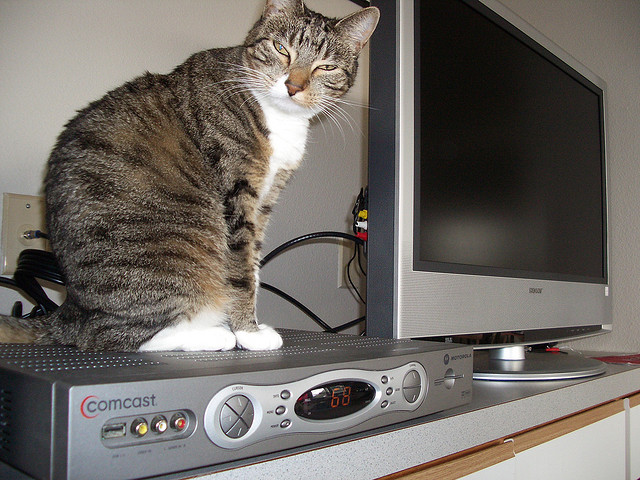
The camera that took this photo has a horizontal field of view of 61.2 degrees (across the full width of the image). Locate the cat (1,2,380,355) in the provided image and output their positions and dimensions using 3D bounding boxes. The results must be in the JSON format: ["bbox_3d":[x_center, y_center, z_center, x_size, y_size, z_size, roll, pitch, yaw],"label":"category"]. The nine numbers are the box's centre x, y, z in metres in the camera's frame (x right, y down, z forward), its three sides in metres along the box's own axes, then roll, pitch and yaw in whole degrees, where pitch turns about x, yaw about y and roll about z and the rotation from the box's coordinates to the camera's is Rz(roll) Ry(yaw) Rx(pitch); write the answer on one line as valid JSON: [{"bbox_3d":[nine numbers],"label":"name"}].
[{"bbox_3d":[-0.223,-0.191,1.121,0.735,0.781,0.290,1,-1,-37],"label":"cat"}]

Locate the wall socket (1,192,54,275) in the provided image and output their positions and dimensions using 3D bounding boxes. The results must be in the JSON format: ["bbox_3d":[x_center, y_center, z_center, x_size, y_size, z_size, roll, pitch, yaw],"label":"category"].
[{"bbox_3d":[-0.727,-0.016,1.340,0.105,0.199,0.025,1,-1,-28],"label":"wall socket"}]

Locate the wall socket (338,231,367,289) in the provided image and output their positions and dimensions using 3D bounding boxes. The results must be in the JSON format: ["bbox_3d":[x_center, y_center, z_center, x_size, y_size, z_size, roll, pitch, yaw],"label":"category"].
[{"bbox_3d":[0.128,0.066,1.918,0.058,0.191,0.116,-6,12,-33],"label":"wall socket"}]
